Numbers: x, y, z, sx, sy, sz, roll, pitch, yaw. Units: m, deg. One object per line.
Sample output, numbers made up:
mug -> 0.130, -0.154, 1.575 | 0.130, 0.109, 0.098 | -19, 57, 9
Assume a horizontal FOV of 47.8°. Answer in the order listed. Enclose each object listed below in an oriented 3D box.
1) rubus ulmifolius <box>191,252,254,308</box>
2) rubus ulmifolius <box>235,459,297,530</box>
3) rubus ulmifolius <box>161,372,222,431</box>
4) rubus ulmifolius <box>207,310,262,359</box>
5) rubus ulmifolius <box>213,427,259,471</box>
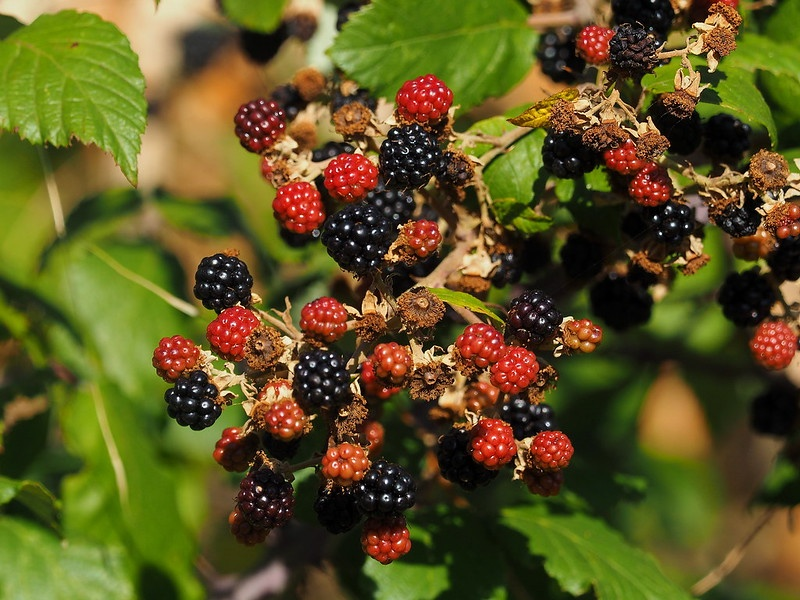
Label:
rubus ulmifolius -> -0.763, -0.068, 3.951 | 0.211, 0.169, 0.205 | 4, 58, 17
rubus ulmifolius -> -0.582, 0.823, 3.971 | 0.226, 0.228, 0.302 | 8, 62, -22
rubus ulmifolius -> -0.877, 0.442, 3.868 | 0.222, 0.188, 0.204 | -18, 54, 2
rubus ulmifolius -> -0.701, 0.133, 3.832 | 0.180, 0.204, 0.244 | -1, 90, 1
rubus ulmifolius -> -0.720, 0.644, 3.960 | 0.180, 0.213, 0.165 | 5, 57, 17
